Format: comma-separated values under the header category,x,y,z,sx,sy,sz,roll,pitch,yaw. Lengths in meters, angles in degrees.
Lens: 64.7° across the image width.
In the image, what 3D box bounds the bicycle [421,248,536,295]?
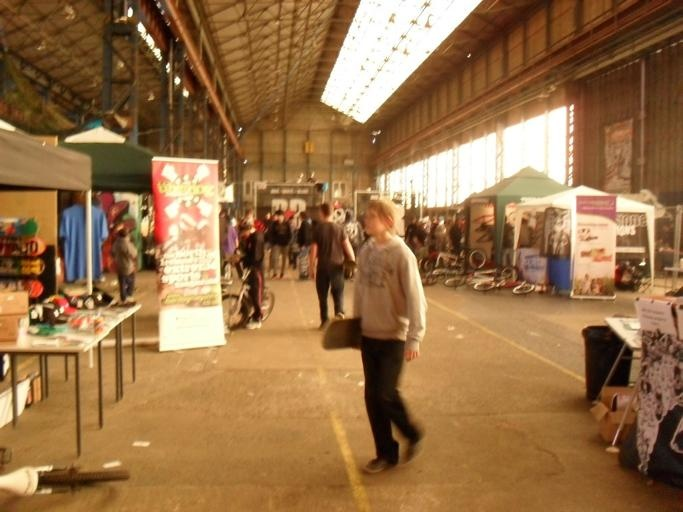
category,x,y,z,sx,sy,sz,roll,pitch,yaw
bicycle,4.097,0.499,16.614,1.531,1.403,2.581,-1,10,-24

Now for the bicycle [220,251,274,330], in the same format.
category,x,y,z,sx,sy,sz,roll,pitch,yaw
bicycle,-1.920,0.771,10.292,0.772,0.931,1.440,-1,-2,14

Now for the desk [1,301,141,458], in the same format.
category,x,y,z,sx,sy,sz,roll,pitch,yaw
desk,-2.828,1.283,5.597,0.532,0.639,1.288,1,7,-1

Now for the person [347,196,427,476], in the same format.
category,x,y,z,sx,sy,sz,roll,pitch,yaw
person,0.390,0.842,4.702,0.668,2.026,0.448,3,7,17

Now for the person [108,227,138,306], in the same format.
category,x,y,z,sx,sy,sz,roll,pitch,yaw
person,-4.613,0.139,11.480,0.462,1.550,0.708,-2,8,-24
